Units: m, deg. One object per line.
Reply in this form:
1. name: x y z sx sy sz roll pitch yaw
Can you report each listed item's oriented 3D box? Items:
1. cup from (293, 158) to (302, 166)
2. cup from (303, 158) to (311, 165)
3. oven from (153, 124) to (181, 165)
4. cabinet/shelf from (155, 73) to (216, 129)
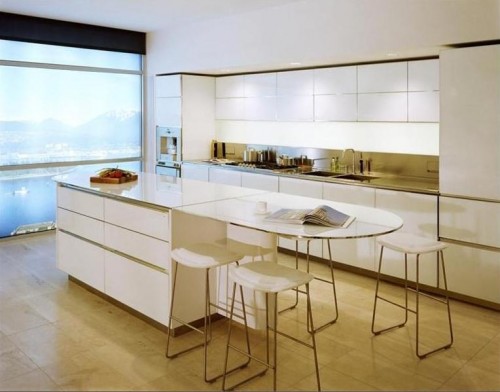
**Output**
1. cup: 0.722 -0.532 6.022 0.105 0.143 0.137 -5 8 -43
2. cup: 0.857 -0.516 5.934 0.083 0.109 0.143 1 0 -37
3. oven: -1.339 -0.914 6.851 0.566 0.560 0.303 7 12 29
4. cabinet/shelf: -1.175 -1.643 6.912 0.670 0.903 0.904 -9 16 -41
